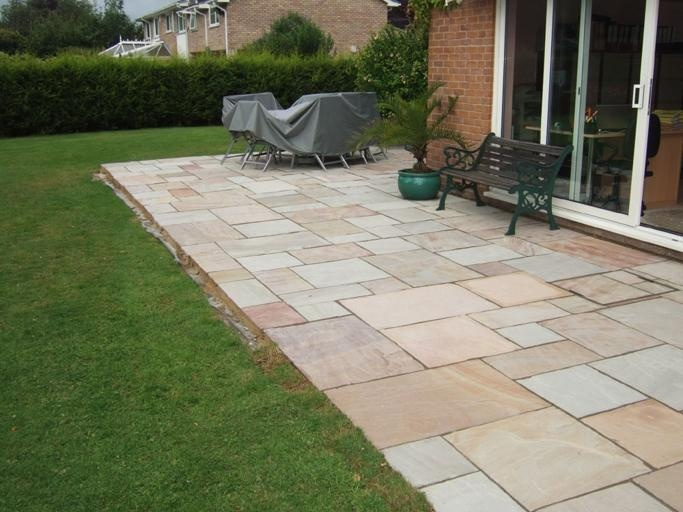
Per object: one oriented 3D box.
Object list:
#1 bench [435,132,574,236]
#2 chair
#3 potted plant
[{"bbox_3d":[2.330,-0.993,6.731,0.864,0.807,1.621,-9,18,-16],"label":"bench"},{"bbox_3d":[3.509,-1.141,6.066,0.701,0.951,0.736,11,11,41],"label":"chair"},{"bbox_3d":[1.390,-1.872,8.263,1.554,1.835,2.305,-6,9,-22],"label":"potted plant"}]
